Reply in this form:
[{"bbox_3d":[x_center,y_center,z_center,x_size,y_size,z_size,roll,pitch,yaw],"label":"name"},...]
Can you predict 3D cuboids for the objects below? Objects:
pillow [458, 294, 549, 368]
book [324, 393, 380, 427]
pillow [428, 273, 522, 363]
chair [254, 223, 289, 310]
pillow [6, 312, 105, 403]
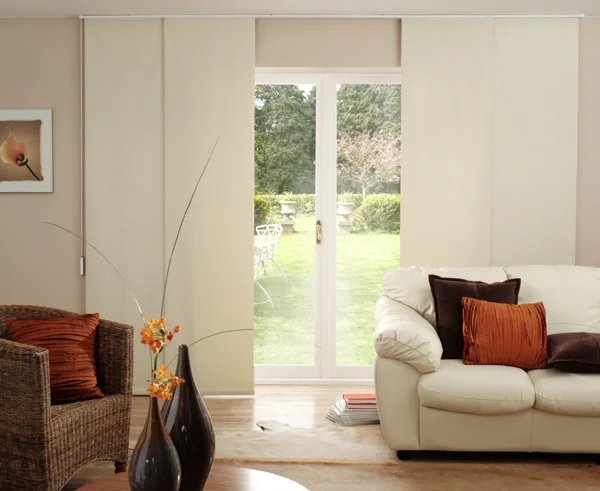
[{"bbox_3d":[1.229,0.540,3.498,0.411,0.338,0.148,0,2,0],"label":"pillow"},{"bbox_3d":[0.370,1.102,3.933,0.309,0.108,0.248,1,-1,-6],"label":"book"},{"bbox_3d":[1.082,0.471,3.567,0.476,0.495,0.164,-1,-10,1],"label":"pillow"},{"bbox_3d":[-0.244,0.164,4.754,0.263,0.686,0.131,-1,8,-3],"label":"chair"},{"bbox_3d":[-1.330,0.628,3.118,0.382,0.412,0.173,-4,-35,-27],"label":"pillow"}]
